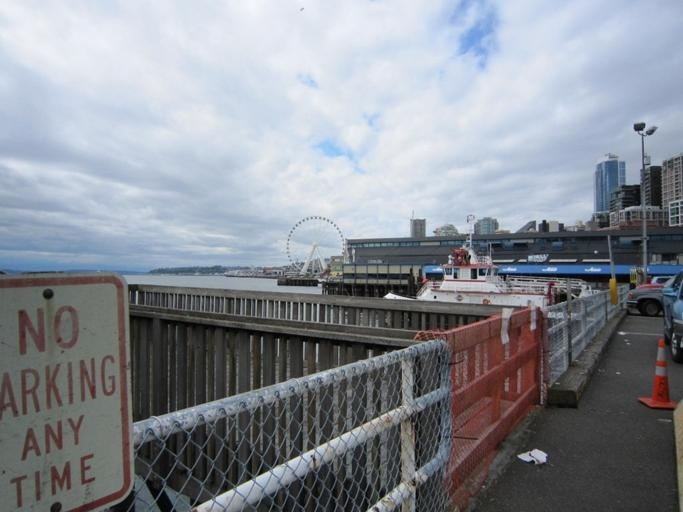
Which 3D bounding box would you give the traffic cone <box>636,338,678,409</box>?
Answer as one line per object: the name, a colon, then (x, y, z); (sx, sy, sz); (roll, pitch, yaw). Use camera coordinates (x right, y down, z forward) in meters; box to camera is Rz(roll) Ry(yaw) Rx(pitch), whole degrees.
traffic cone: (4.506, 1.608, 6.707); (0.435, 0.756, 0.997); (5, 3, 34)
